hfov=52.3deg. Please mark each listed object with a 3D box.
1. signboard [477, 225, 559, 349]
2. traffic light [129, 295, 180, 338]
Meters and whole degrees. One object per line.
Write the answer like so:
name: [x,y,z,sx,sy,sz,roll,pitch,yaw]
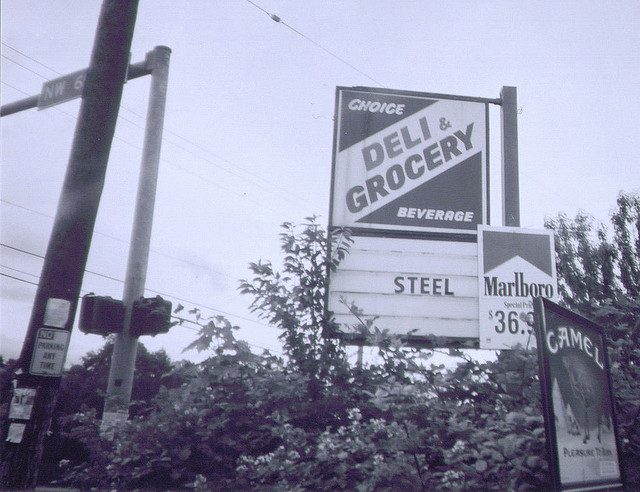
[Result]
signboard: [2.841,0.593,9.465,1.180,1.763,0.031,3,-10,-8]
traffic light: [-2.083,0.873,8.217,0.564,0.537,0.161,-3,-23,11]
